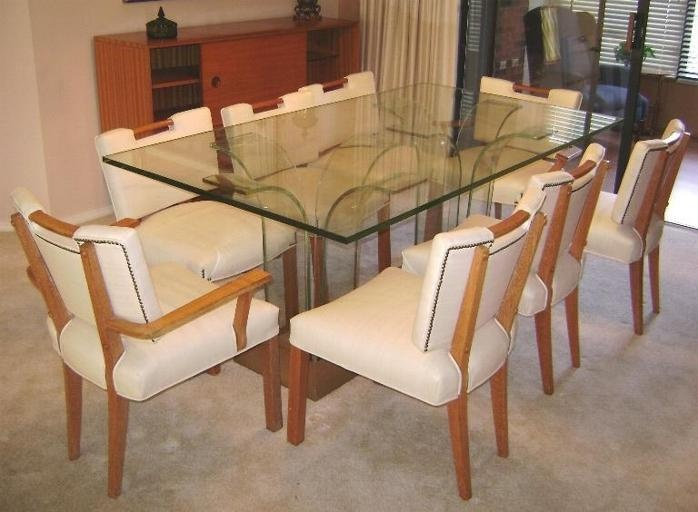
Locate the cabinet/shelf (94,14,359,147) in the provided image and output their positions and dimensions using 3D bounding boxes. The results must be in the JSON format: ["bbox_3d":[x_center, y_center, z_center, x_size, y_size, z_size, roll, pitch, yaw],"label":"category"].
[{"bbox_3d":[-0.649,-1.288,4.686,1.509,0.740,0.386,-6,3,6],"label":"cabinet/shelf"}]
